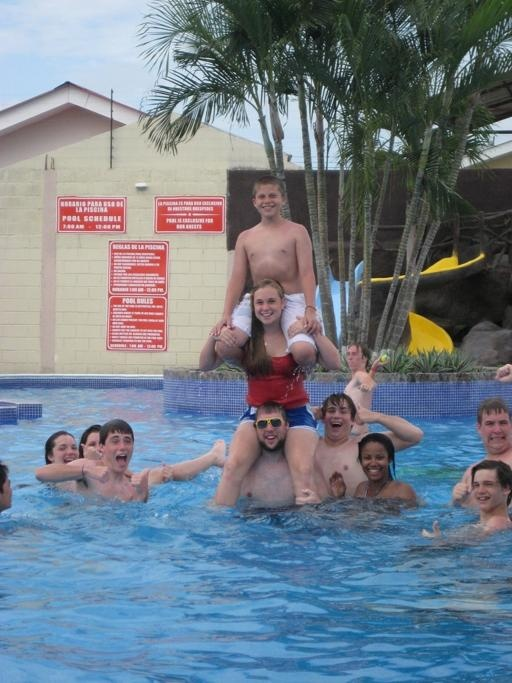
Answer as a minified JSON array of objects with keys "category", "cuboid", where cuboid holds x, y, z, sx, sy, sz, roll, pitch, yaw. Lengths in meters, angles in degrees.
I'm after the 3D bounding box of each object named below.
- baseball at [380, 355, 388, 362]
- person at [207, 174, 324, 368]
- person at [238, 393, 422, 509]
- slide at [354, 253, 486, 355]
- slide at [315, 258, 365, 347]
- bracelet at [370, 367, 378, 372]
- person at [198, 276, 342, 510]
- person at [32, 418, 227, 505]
[{"category":"baseball","cuboid":[1.221,0.165,7.529,0.076,0.062,0.090,-8,3,-2]},{"category":"person","cuboid":[0.034,-0.434,4.469,0.772,0.960,0.653,-3,16,14]},{"category":"person","cuboid":[0.408,0.636,4.398,1.201,0.575,0.692,2,47,2]},{"category":"slide","cuboid":[2.678,-0.613,12.385,1.516,2.169,1.176,-3,-4,9]},{"category":"slide","cuboid":[1.369,-0.928,13.670,0.441,1.030,0.330,-34,48,-20]},{"category":"bracelet","cuboid":[1.036,0.244,6.926,0.046,0.043,0.163,9,-9,8]},{"category":"person","cuboid":[0.040,0.270,4.235,0.782,1.196,0.483,0,2,14]},{"category":"person","cuboid":[-0.768,0.712,4.320,0.981,0.315,0.489,8,-16,-24]}]
